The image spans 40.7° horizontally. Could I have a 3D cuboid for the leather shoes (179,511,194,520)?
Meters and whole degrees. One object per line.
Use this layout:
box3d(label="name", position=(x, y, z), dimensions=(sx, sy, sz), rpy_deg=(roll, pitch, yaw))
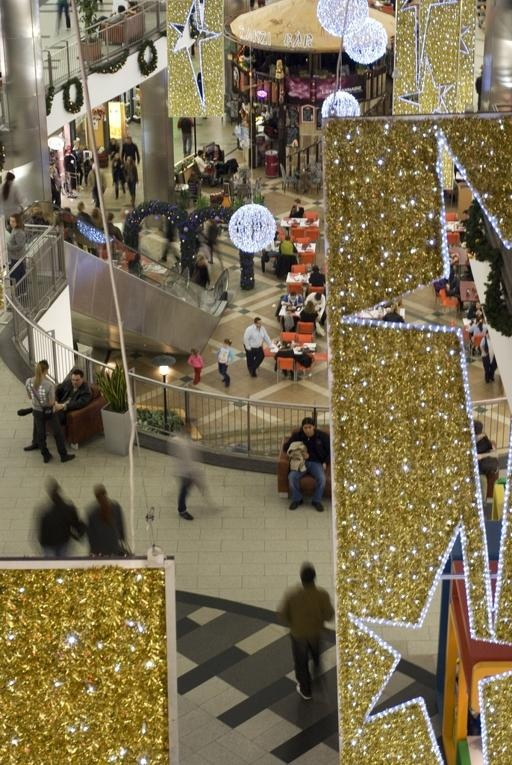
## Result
box3d(label="leather shoes", position=(-0.880, 1.679, 8.788), dimensions=(0.175, 0.077, 0.095), rpy_deg=(19, 25, 37))

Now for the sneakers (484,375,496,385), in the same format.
box3d(label="sneakers", position=(4.623, -0.070, 13.595), dimensions=(0.162, 0.223, 0.117), rpy_deg=(-12, 5, -26))

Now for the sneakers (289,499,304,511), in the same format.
box3d(label="sneakers", position=(0.515, 1.580, 9.015), dimensions=(0.073, 0.099, 0.227), rpy_deg=(7, 19, 20))

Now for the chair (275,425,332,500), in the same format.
box3d(label="chair", position=(0.652, 0.955, 9.172), dimensions=(0.828, 0.808, 0.951), rpy_deg=(1, 46, 3))

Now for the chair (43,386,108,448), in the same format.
box3d(label="chair", position=(-2.662, 0.402, 10.056), dimensions=(0.690, 0.751, 0.698), rpy_deg=(21, 27, 33))

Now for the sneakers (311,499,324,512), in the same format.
box3d(label="sneakers", position=(0.797, 1.563, 8.963), dimensions=(0.073, 0.087, 0.195), rpy_deg=(-18, 36, -19))

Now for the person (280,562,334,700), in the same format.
box3d(label="person", position=(0.471, 2.057, 5.941), dimensions=(0.427, 1.707, 0.640), rpy_deg=(2, 25, 12))
